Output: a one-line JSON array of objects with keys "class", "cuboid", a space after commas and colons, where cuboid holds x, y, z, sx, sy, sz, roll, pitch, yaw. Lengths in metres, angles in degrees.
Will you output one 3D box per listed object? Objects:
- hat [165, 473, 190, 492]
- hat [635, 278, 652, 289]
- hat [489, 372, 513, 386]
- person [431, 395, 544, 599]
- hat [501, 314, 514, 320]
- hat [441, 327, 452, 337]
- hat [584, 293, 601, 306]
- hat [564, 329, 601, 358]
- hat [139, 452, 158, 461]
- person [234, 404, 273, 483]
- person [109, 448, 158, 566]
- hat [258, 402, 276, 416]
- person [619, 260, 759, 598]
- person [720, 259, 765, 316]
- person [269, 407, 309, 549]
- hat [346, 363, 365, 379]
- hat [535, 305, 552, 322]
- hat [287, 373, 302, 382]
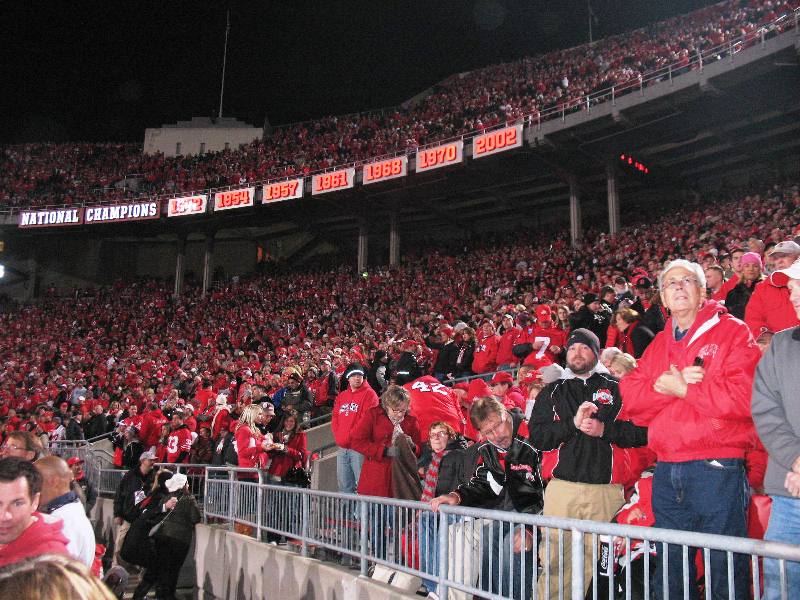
[{"class": "hat", "cuboid": [-3.056, 2.482, 10.508, 0.198, 0.155, 0.266, 22, 22, 25]}, {"class": "hat", "cuboid": [3.443, -0.231, 10.890, 0.203, 0.143, 0.281, -3, -2, 26]}, {"class": "hat", "cuboid": [1.535, 1.196, 11.691, 0.261, 0.159, 0.194, -10, -14, 34]}, {"class": "person", "cuboid": [0.820, 1.624, 6.614, 0.801, 1.615, 1.194, -2, -9, 10]}, {"class": "hat", "cuboid": [1.923, 0.304, 13.809, 0.129, 0.095, 0.174, 2, -2, 14]}, {"class": "hat", "cuboid": [0.881, 0.605, 14.556, 0.155, 0.176, 0.200, -4, -6, -28]}, {"class": "hat", "cuboid": [3.079, -0.022, 12.463, 0.171, 0.214, 0.216, 3, -35, -12]}, {"class": "hat", "cuboid": [1.639, 0.354, 6.804, 0.225, 0.194, 0.247, 21, -24, 29]}, {"class": "hat", "cuboid": [-3.773, 2.279, 11.265, 0.346, 0.140, 0.245, -4, -9, 28]}, {"class": "person", "cuboid": [-1.988, 2.078, 10.634, 0.471, 1.292, 0.543, 1, 12, 6]}, {"class": "person", "cuboid": [-3.883, 3.148, 11.239, 0.666, 1.930, 0.479, 11, 0, -18]}, {"class": "hat", "cuboid": [-2.080, 1.700, 12.094, 0.296, 0.295, 0.230, -9, -8, 41]}, {"class": "person", "cuboid": [2.241, 0.698, 5.890, 0.971, 2.125, 0.479, -4, -10, 26]}, {"class": "person", "cuboid": [4.243, -0.202, 9.534, 0.439, 0.338, 1.052, 15, -42, 31]}, {"class": "person", "cuboid": [-1.436, 2.257, 9.982, 0.523, 1.679, 2.481, 1, -9, -8]}, {"class": "hat", "cuboid": [-0.606, 0.936, 10.121, 0.163, 0.185, 0.206, 0, -11, -28]}, {"class": "hat", "cuboid": [2.307, 0.225, 12.421, 0.245, 0.227, 0.416, 0, 0, 10]}, {"class": "hat", "cuboid": [-1.868, 1.369, 13.749, 0.268, 0.188, 0.236, 5, -10, -30]}]
